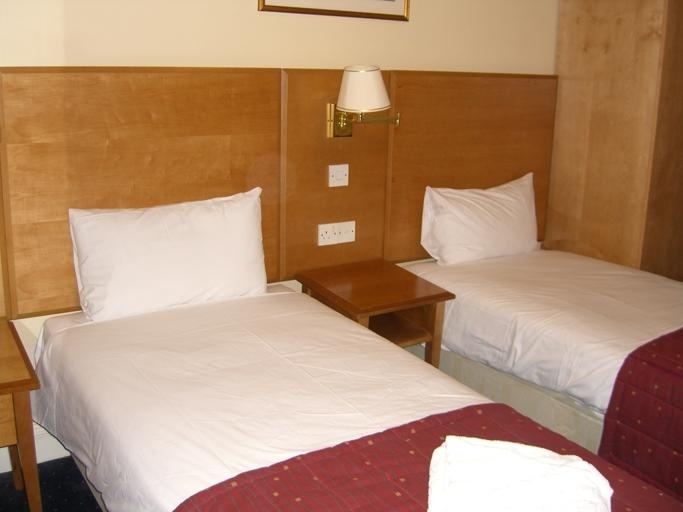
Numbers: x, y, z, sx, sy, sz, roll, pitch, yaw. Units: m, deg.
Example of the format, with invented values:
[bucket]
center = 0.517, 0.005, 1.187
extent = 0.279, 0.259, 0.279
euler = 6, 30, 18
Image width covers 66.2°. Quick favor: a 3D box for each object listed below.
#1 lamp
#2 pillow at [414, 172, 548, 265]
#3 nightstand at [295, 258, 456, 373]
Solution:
[lamp]
center = 0.150, -0.781, 2.676
extent = 0.406, 0.347, 0.420
euler = -8, 17, -18
[pillow]
center = 0.822, -0.282, 3.194
extent = 0.666, 0.502, 0.423
euler = -6, 17, -25
[nightstand]
center = 0.156, 0.075, 2.768
extent = 0.546, 0.690, 0.696
euler = -11, 22, -27
